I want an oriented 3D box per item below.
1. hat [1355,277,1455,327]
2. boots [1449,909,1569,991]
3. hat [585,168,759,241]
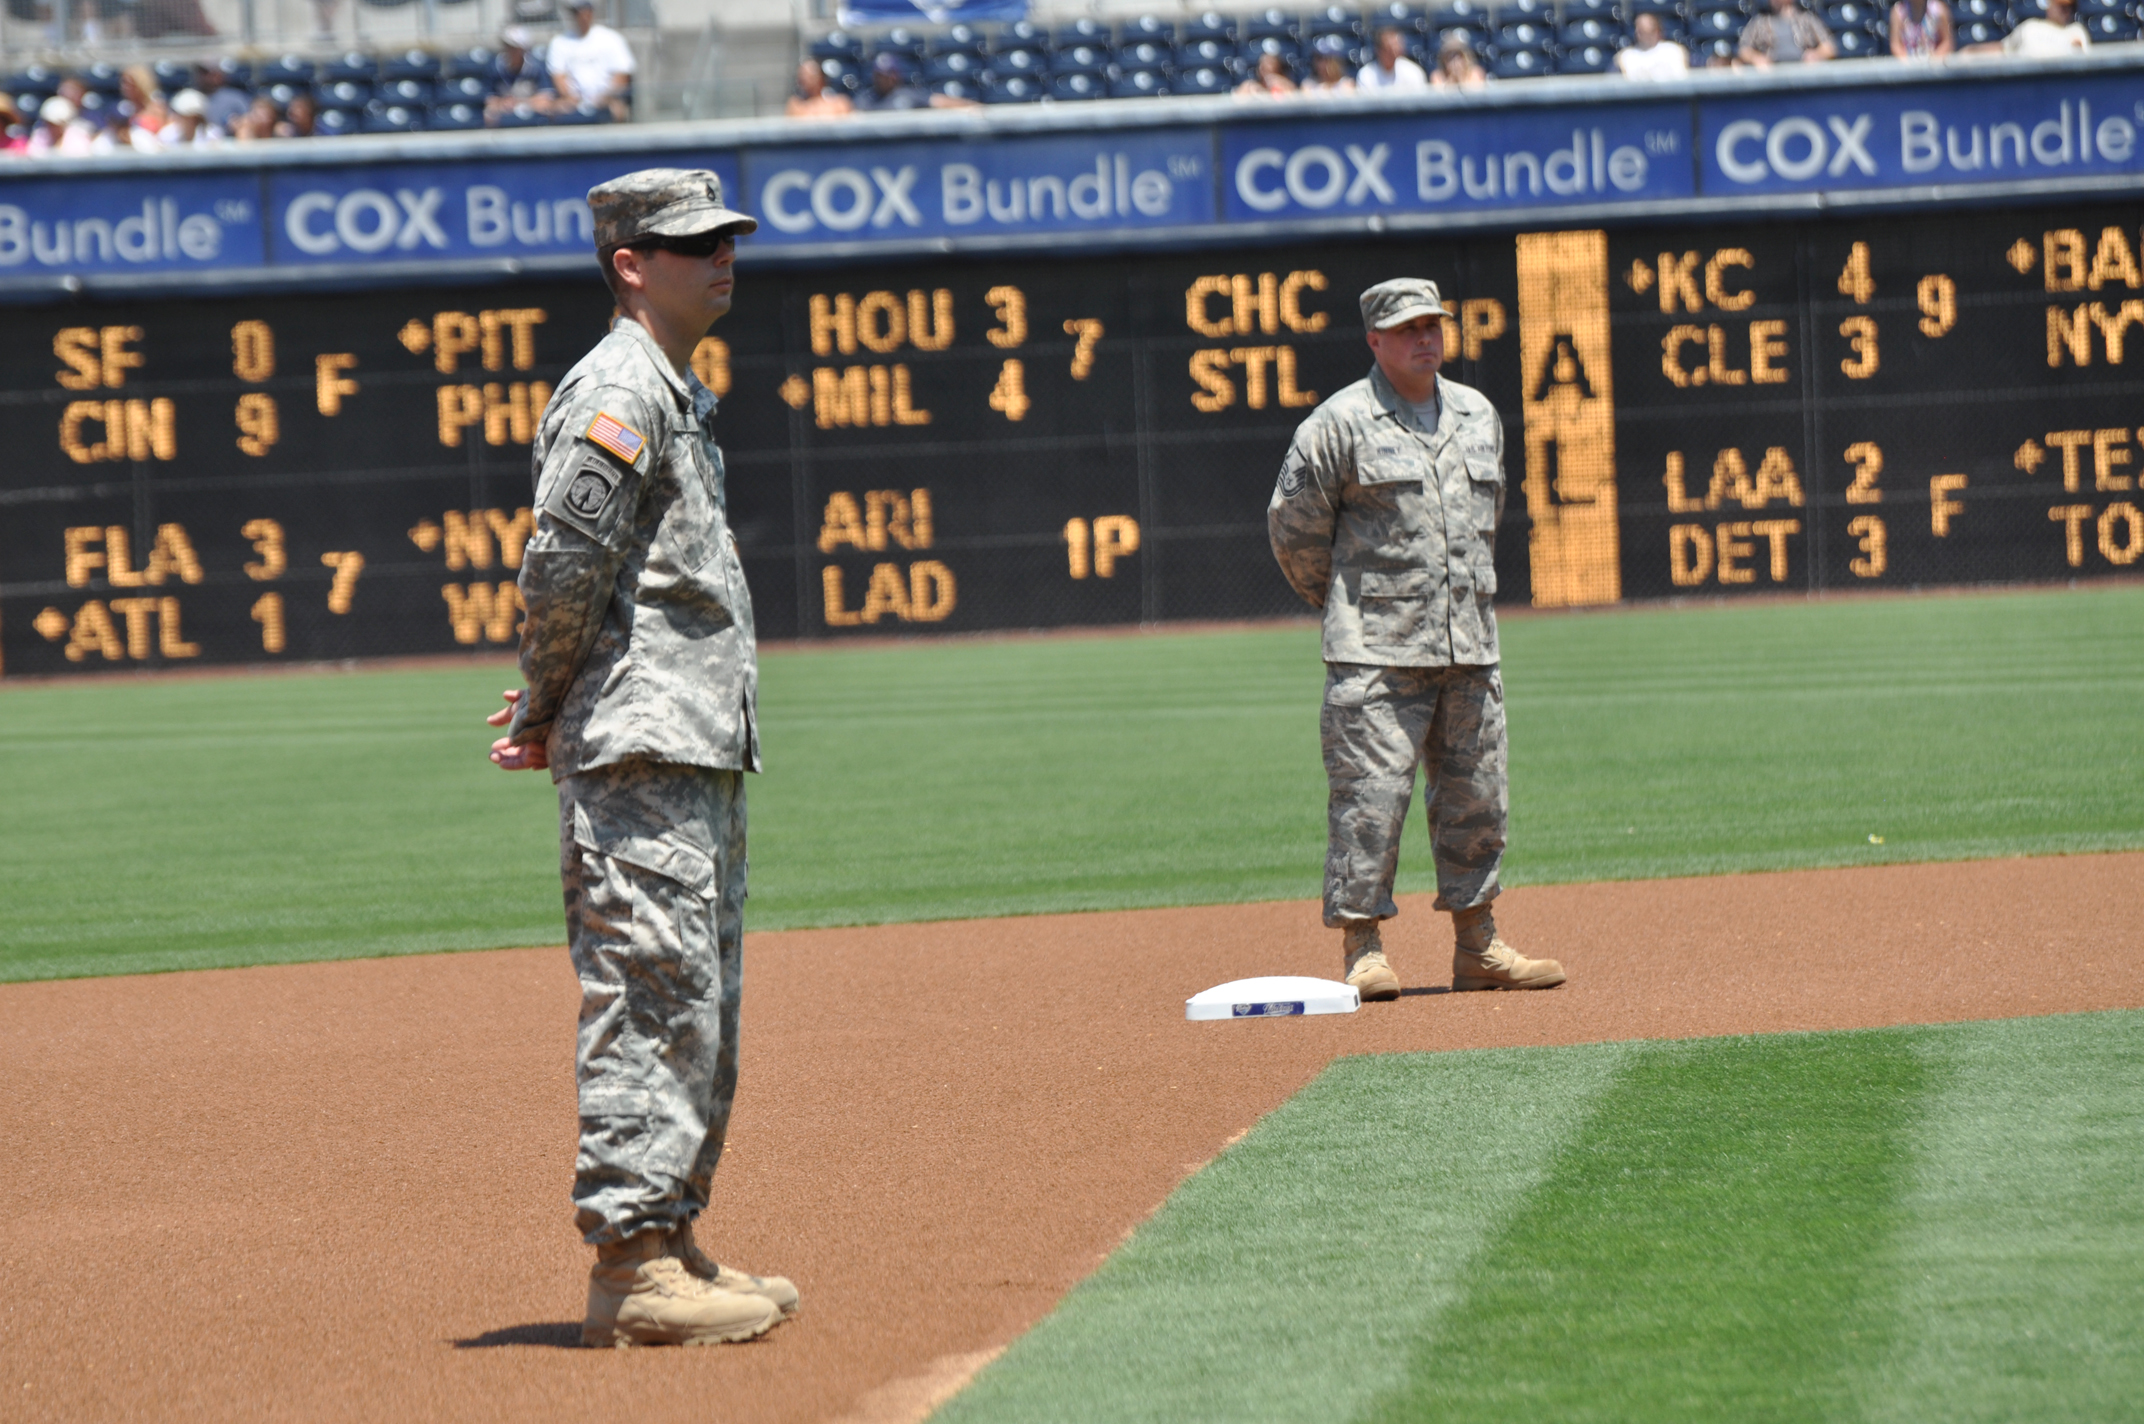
[{"bbox_3d":[1.862,-2.339,25.766,0.383,0.193,0.529,-2,1,-7],"label":"hat"},{"bbox_3d":[2.448,1.428,25.869,0.877,0.602,0.308,-1,3,2],"label":"boots"},{"bbox_3d":[-2.127,-2.608,23.046,0.616,0.221,0.431,0,2,10],"label":"hat"}]
